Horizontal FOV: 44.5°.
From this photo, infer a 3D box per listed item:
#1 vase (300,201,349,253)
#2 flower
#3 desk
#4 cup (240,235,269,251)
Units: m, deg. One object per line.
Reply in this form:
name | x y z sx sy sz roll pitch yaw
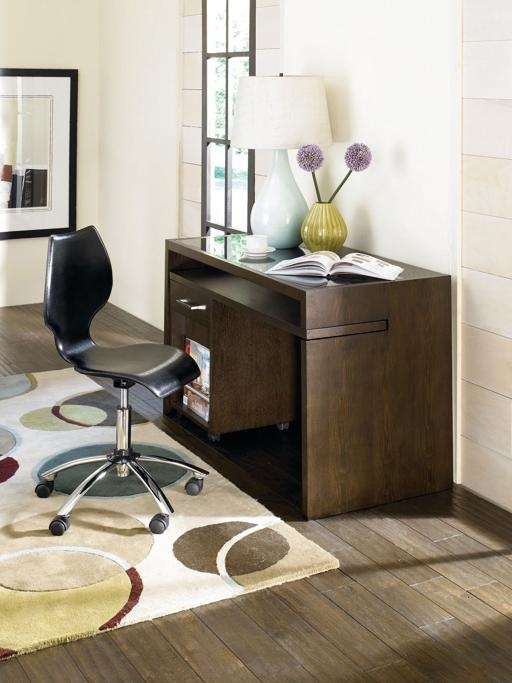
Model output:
vase | 0.255 -0.428 2.363 0.201 0.224 0.192 1 6 4
flower | 0.325 -0.685 2.531 0.304 0.298 0.116 4 -3 8
desk | 0.212 0.122 2.170 0.482 0.612 0.928 -3 9 -22
cup | -0.020 -0.364 2.394 0.110 0.075 0.085 5 9 25
